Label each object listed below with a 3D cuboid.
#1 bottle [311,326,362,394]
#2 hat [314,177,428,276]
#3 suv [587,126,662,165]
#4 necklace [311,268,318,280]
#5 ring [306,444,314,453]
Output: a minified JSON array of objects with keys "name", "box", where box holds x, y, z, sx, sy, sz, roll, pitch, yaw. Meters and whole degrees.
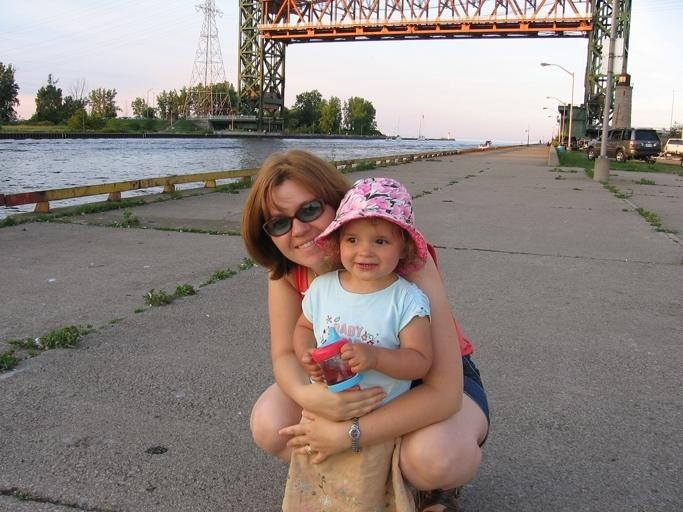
[{"name":"bottle","box":[-0.011,0.381,1.861,0.161,0.223,0.144,-24,4,5]},{"name":"hat","box":[0.124,-0.112,2.010,0.463,0.374,0.319,3,13,10]},{"name":"suv","box":[16.083,-6.154,28.520,2.083,1.728,4.224,0,14,-1]},{"name":"necklace","box":[-0.121,0.080,2.271,0.029,0.037,0.035,18,11,-29]},{"name":"ring","box":[-0.123,0.754,2.012,0.009,0.035,0.031,-1,-4,-25]}]
